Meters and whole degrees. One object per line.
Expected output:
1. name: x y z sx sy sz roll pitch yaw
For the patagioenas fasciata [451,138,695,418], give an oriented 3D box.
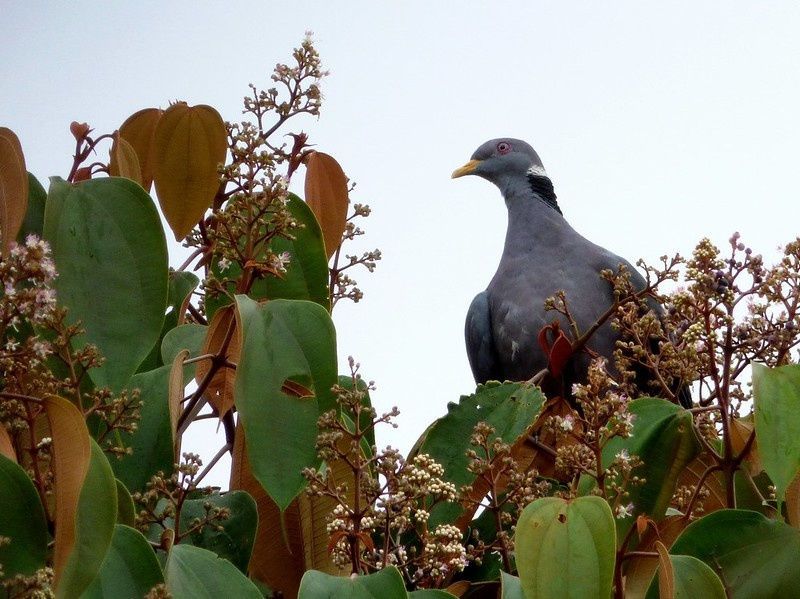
1. patagioenas fasciata: 0.563 0.050 4.226 0.579 1.265 0.674 -18 -29 32
